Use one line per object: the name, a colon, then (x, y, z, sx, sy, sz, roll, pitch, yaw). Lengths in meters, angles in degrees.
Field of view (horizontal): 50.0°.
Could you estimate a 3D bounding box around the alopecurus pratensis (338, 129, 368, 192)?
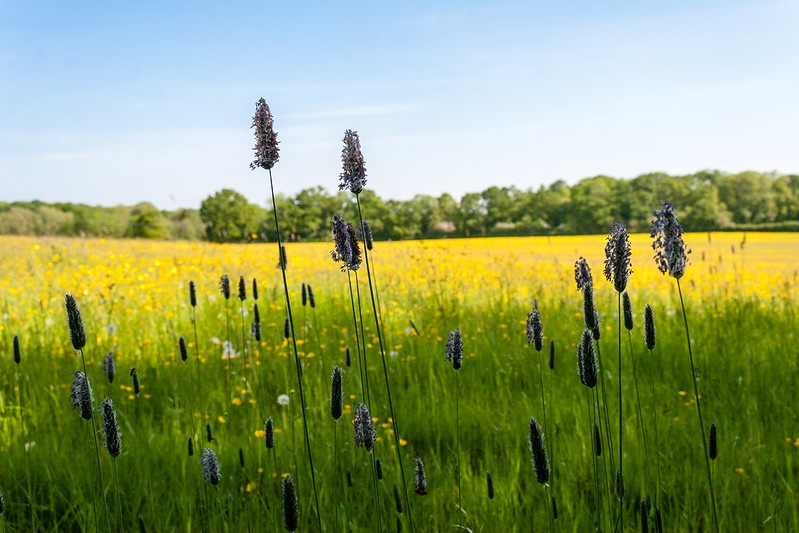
alopecurus pratensis: (-0.457, -0.998, 8.216, 0.237, 0.576, 0.762, -3, 1, -4)
